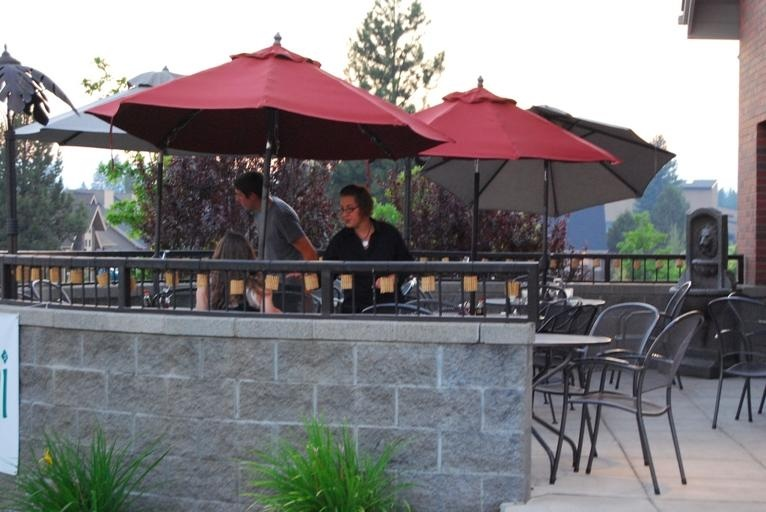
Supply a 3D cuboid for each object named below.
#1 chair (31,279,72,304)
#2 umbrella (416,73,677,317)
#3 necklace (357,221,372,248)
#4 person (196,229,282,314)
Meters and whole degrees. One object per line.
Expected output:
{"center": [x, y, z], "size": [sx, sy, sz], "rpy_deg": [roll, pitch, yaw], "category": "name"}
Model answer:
{"center": [-7.068, 0.742, 27.755], "size": [0.835, 0.458, 0.598], "rpy_deg": [2, 3, 27], "category": "chair"}
{"center": [3.304, -1.838, 28.997], "size": [5.073, 3.722, 3.608], "rpy_deg": [0, 0, -16], "category": "umbrella"}
{"center": [-0.349, -0.460, 27.174], "size": [0.293, 0.493, 0.161], "rpy_deg": [-3, 0, 4], "category": "necklace"}
{"center": [-3.079, 0.298, 26.544], "size": [1.388, 1.527, 0.796], "rpy_deg": [3, -2, 16], "category": "person"}
